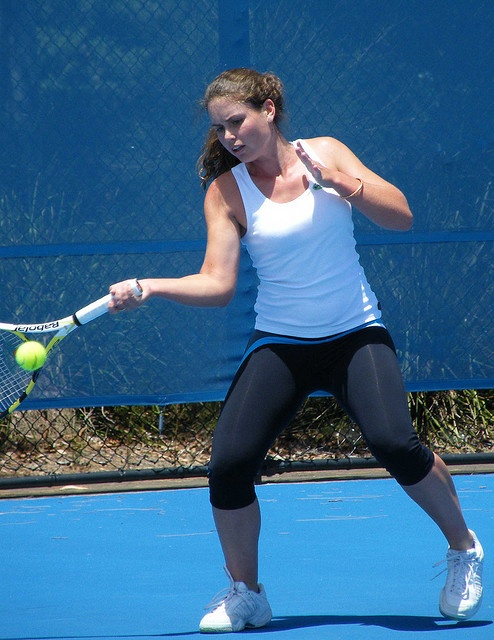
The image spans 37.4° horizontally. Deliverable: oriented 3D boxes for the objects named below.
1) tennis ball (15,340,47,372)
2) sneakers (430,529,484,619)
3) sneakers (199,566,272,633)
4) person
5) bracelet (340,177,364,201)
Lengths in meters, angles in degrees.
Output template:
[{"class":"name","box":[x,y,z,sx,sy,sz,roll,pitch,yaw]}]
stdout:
[{"class":"tennis ball","box":[-0.708,0.119,2.457,0.109,0.103,0.099,-1,7,0]},{"class":"sneakers","box":[0.641,0.777,2.203,0.130,0.250,0.159,-2,7,15]},{"class":"sneakers","box":[-0.084,0.849,2.173,0.311,0.186,0.115,9,-23,-38]},{"class":"person","box":[0.164,0.049,2.296,1.036,1.746,0.653,-3,7,14]},{"class":"bracelet","box":[0.323,-0.400,2.219,0.058,0.014,0.059,-31,12,44]}]
